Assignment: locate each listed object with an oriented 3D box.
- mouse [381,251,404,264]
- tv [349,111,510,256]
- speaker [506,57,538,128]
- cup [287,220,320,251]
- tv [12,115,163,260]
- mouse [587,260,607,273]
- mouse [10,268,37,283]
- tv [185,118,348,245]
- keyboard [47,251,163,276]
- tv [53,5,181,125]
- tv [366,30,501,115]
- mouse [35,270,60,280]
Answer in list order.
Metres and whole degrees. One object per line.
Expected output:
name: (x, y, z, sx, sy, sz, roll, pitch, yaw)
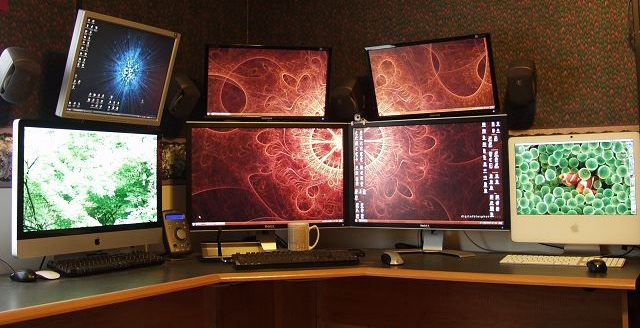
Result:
mouse: (0.446, 0.580, 2.945, 0.120, 0.072, 0.143, 1, -1, -23)
tv: (0.746, 0.101, 3.129, 1.116, 0.802, 0.244, -1, -8, 8)
speaker: (1.353, -0.481, 3.187, 0.211, 0.462, 0.201, 0, -2, 20)
cup: (-0.112, 0.458, 3.067, 0.188, 0.176, 0.126, 2, -2, -42)
tv: (-1.435, 0.149, 2.861, 1.028, 0.759, 0.128, 2, -6, -40)
mouse: (1.600, 0.586, 2.733, 0.104, 0.074, 0.062, 0, -1, 11)
mouse: (-1.665, 0.621, 2.659, 0.127, 0.039, 0.071, 4, 1, 16)
tv: (-0.350, 0.088, 3.129, 1.033, 0.569, 0.096, -1, 0, -3)
keyboard: (-1.286, 0.594, 2.865, 0.601, 0.111, 0.238, 1, -1, -31)
tv: (-1.308, -0.615, 2.987, 0.864, 0.734, 0.252, 9, 17, -34)
tv: (0.794, -0.599, 3.198, 0.693, 0.368, 0.068, -5, 6, 13)
mouse: (-1.551, 0.624, 2.706, 0.104, 0.023, 0.059, 5, 2, 18)
